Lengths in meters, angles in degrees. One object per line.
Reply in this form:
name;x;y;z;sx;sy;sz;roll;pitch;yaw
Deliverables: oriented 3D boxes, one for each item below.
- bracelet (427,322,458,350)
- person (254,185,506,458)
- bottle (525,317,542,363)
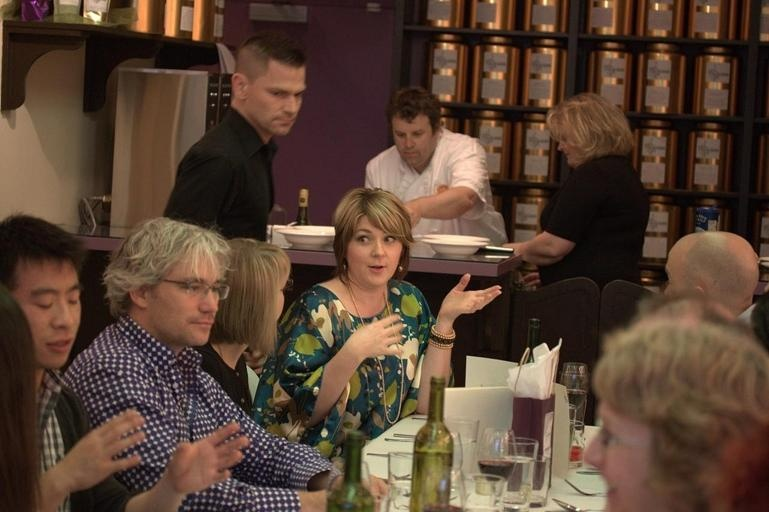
bracelet;0.208;0.292;2.927;0.076;0.058;0.081;2;4;7
person;-0.066;0.475;2.960;0.709;1.424;0.652;0;12;-24
bottle;0.435;0.240;2.348;0.032;0.125;0.203;5;0;10
